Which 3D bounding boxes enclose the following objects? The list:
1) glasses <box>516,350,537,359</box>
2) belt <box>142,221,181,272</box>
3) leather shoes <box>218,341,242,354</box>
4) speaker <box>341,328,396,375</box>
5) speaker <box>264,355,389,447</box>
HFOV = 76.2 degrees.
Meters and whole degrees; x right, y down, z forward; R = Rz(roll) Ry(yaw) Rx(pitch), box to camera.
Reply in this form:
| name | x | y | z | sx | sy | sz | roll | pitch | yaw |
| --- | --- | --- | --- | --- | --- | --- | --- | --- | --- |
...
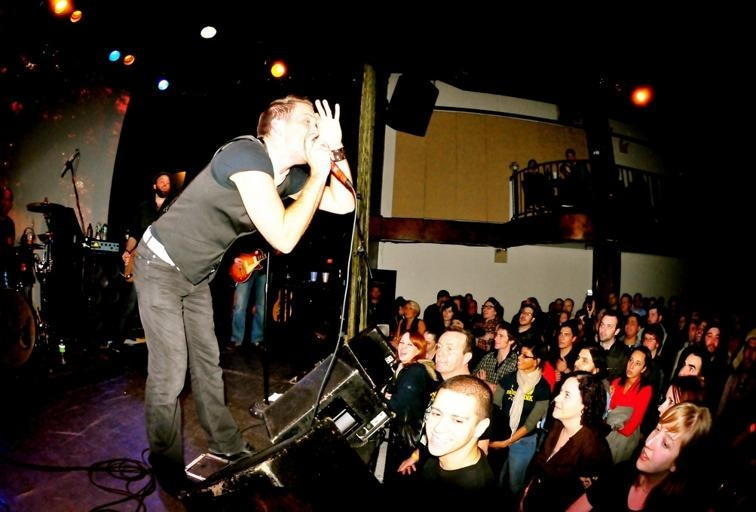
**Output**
| name | x | y | z | sx | sy | sz | roll | pitch | yaw |
| --- | --- | --- | --- | --- | --- | --- | --- | --- | --- |
| glasses | 1.617 | 1.061 | 5.177 | 0.183 | 0.073 | 0.072 | 10 | 3 | 13 |
| belt | -1.672 | -0.064 | 3.636 | 0.334 | 0.122 | 0.246 | 37 | 13 | -25 |
| leather shoes | -1.949 | 1.198 | 6.280 | 0.123 | 0.152 | 0.364 | 3 | -7 | -35 |
| speaker | -0.103 | 0.904 | 4.512 | 0.273 | 0.277 | 0.513 | 44 | -2 | 18 |
| speaker | -0.407 | 1.238 | 4.080 | 0.599 | 0.873 | 0.482 | 52 | -15 | 0 |
